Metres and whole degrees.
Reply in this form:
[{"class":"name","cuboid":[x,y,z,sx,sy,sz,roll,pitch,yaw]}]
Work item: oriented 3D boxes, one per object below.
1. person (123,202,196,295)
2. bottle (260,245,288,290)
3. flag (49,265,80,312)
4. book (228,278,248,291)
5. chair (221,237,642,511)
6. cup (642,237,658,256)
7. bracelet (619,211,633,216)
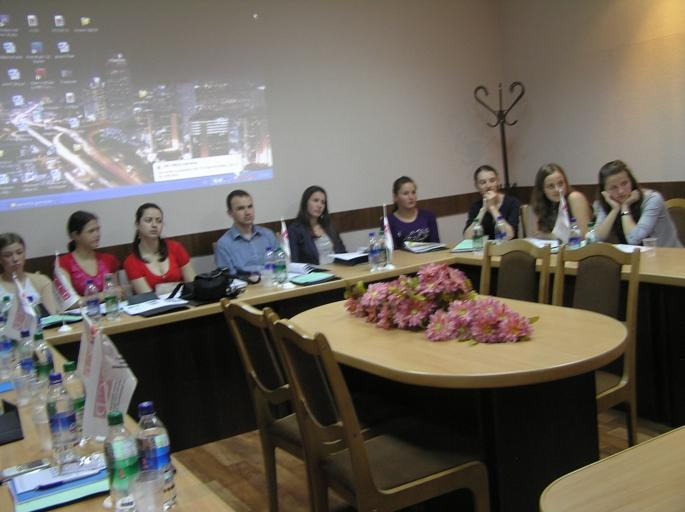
[{"class":"person","cuboid":[-1.575,-0.060,4.279,0.596,0.911,0.586,-12,13,-38]},{"class":"bottle","cuboid":[-0.475,0.085,3.608,0.206,0.412,0.260,0,2,15]},{"class":"flag","cuboid":[-1.886,0.225,3.439,0.074,0.216,0.291,-29,59,-3]},{"class":"book","cuboid":[-0.702,0.193,3.416,0.046,0.061,0.104,-6,10,45]},{"class":"chair","cuboid":[0.386,0.537,2.227,0.865,0.718,1.250,-4,4,-33]},{"class":"cup","cuboid":[1.904,-0.057,3.152,0.090,0.116,0.114,-6,-4,18]},{"class":"bracelet","cuboid":[2.010,-0.304,3.589,0.059,0.030,0.031,1,15,23]}]
